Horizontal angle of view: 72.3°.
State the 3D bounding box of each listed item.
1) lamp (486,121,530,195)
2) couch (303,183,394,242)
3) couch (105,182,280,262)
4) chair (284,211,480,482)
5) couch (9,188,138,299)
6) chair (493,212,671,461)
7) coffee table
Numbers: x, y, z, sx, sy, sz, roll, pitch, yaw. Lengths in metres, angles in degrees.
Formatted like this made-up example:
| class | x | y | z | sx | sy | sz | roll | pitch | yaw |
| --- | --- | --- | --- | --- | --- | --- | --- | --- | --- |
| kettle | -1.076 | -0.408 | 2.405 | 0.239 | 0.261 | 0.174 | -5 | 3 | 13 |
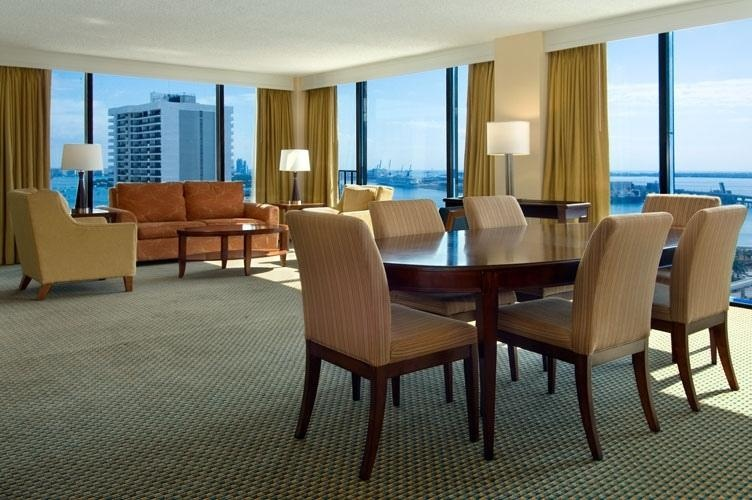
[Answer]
| class | x | y | z | sx | sy | sz | roll | pitch | yaw |
| --- | --- | --- | --- | --- | --- | --- | --- | --- | --- |
| lamp | 1.617 | -1.142 | 6.382 | 0.492 | 0.906 | 0.574 | 3 | 13 | 13 |
| couch | -0.255 | -0.599 | 7.477 | 1.131 | 0.929 | 1.027 | -3 | 6 | -42 |
| couch | -2.692 | -0.425 | 7.534 | 2.149 | 1.036 | 1.078 | -5 | 17 | -35 |
| chair | 0.033 | 0.419 | 2.533 | 0.901 | 1.221 | 0.534 | -3 | 14 | -9 |
| couch | -3.633 | -0.121 | 5.587 | 1.439 | 1.315 | 1.107 | -3 | 7 | -40 |
| chair | 1.149 | 0.378 | 2.769 | 0.694 | 1.195 | 0.678 | -12 | 17 | -39 |
| coffee table | -1.916 | -0.193 | 6.511 | 1.257 | 0.468 | 0.837 | -3 | 9 | -37 |
